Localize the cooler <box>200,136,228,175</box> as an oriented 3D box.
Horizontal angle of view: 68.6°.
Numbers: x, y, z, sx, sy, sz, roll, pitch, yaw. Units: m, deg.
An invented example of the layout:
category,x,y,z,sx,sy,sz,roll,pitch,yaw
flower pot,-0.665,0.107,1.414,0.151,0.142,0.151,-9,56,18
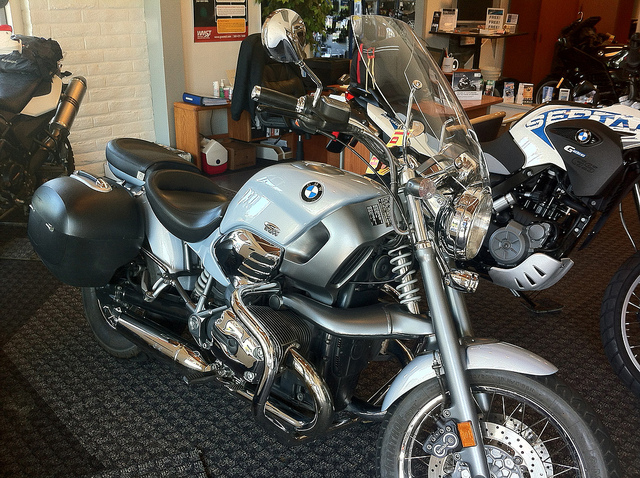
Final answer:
category,x,y,z,sx,sy,sz,roll,pitch,yaw
cooler,-1.076,-0.870,4.813,0.288,0.431,0.396,-7,14,-32
